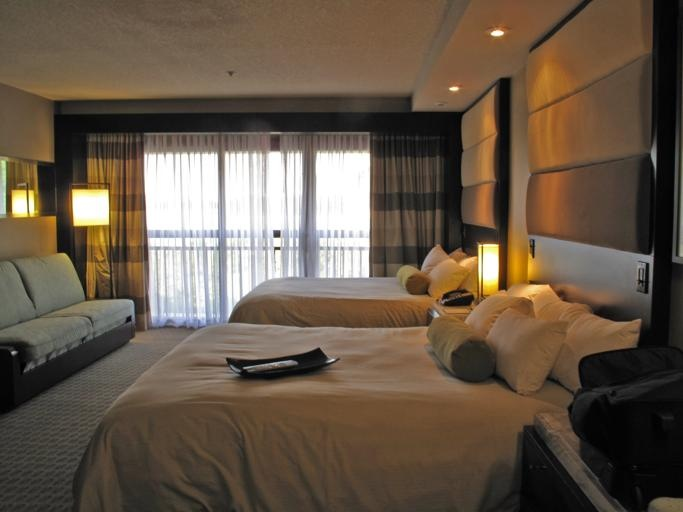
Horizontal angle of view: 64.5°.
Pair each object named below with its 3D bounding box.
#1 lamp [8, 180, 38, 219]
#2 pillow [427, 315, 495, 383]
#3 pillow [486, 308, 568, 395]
[{"bbox_3d":[-3.438,-0.604,5.890,0.261,0.377,0.317,-1,6,-16],"label":"lamp"},{"bbox_3d":[0.760,0.581,3.560,0.307,0.300,0.669,-7,10,-3],"label":"pillow"},{"bbox_3d":[1.078,0.558,3.315,0.231,0.406,0.621,8,3,-10],"label":"pillow"}]
